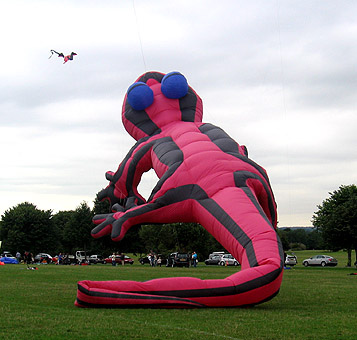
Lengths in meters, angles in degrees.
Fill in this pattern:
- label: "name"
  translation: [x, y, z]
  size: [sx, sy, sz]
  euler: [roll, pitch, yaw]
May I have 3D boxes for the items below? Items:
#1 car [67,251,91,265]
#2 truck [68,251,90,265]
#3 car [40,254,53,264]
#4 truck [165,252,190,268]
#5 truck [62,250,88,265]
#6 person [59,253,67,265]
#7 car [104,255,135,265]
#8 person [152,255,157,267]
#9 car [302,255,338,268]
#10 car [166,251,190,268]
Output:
- label: "car"
  translation: [-9.577, 8.445, 49.378]
  size: [1.711, 1.122, 2.552]
  euler: [-1, -4, 22]
- label: "truck"
  translation: [-9.564, 8.451, 49.444]
  size: [1.596, 1.068, 2.417]
  euler: [-1, -3, 19]
- label: "car"
  translation: [-13.326, 8.952, 52.294]
  size: [1.237, 0.840, 1.964]
  euler: [4, -1, -16]
- label: "truck"
  translation: [0.011, 7.267, 42.214]
  size: [1.230, 0.776, 1.848]
  euler: [2, -1, -20]
- label: "truck"
  translation: [-9.682, 8.406, 48.588]
  size: [2.670, 1.145, 1.572]
  euler: [-3, -7, 11]
- label: "person"
  translation: [-10.695, 8.050, 47.631]
  size: [0.770, 0.828, 0.321]
  euler: [4, -43, -17]
- label: "car"
  translation: [-5.926, 9.097, 52.436]
  size: [2.532, 0.706, 1.406]
  euler: [-3, -7, 41]
- label: "person"
  translation: [-1.931, 7.799, 44.543]
  size: [0.401, 0.949, 0.418]
  euler: [9, -8, -9]
- label: "car"
  translation: [12.323, 7.870, 44.917]
  size: [2.617, 0.728, 1.227]
  euler: [-3, -7, 43]
- label: "car"
  translation: [0.047, 7.258, 42.205]
  size: [1.203, 0.795, 1.876]
  euler: [2, -2, -20]
